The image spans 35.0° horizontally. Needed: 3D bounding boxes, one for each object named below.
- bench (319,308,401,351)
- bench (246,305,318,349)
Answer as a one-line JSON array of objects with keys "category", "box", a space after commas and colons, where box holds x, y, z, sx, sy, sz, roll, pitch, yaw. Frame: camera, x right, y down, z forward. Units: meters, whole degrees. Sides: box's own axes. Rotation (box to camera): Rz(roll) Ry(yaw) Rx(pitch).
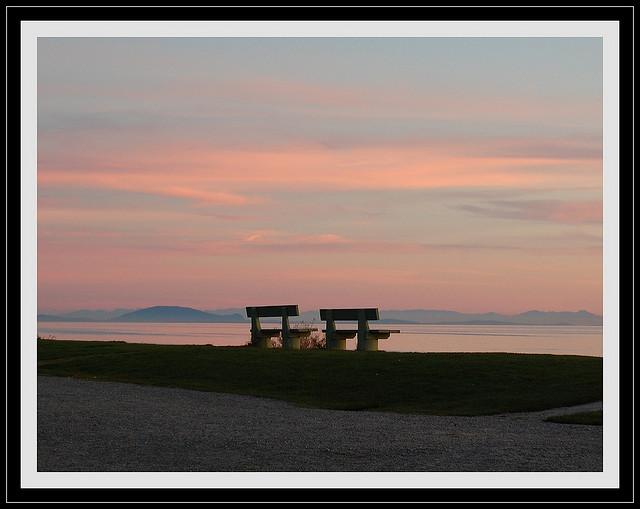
[{"category": "bench", "box": [0.738, 1.370, 18.107, 0.770, 0.682, 1.673, 10, -9, -32]}, {"category": "bench", "box": [-0.658, 1.356, 18.540, 0.799, 0.724, 1.386, 8, -9, -40]}]
